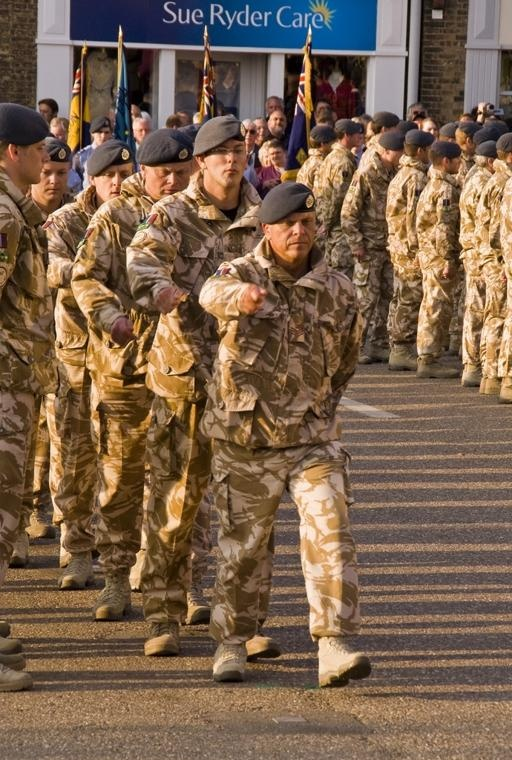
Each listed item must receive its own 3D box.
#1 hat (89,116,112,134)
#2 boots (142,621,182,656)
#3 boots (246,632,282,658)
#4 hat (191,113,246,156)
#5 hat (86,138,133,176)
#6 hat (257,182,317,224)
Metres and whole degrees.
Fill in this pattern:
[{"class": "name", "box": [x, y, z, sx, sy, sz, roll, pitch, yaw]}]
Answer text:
[{"class": "hat", "box": [-1.526, -2.460, 10.161, 0.182, 0.089, 0.233, -2, 2, -19]}, {"class": "boots", "box": [-0.357, 0.984, 3.994, 0.134, 0.120, 0.214, -1, 5, -3]}, {"class": "boots", "box": [0.019, 0.981, 3.886, 0.079, 0.069, 0.167, 14, -25, -26]}, {"class": "hat", "box": [-0.155, -0.921, 3.974, 0.141, 0.078, 0.179, -22, 9, -19]}, {"class": "hat", "box": [-0.694, -1.065, 4.999, 0.157, 0.067, 0.208, -13, -1, -34]}, {"class": "hat", "box": [0.101, -0.593, 3.500, 0.142, 0.078, 0.175, -21, 17, -11]}]
